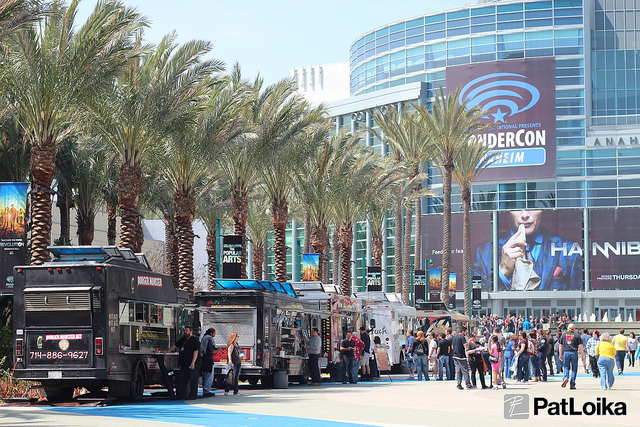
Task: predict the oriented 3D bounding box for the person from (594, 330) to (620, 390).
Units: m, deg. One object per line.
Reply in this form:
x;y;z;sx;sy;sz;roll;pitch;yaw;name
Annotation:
13.368;6.712;60.439;1.057;2.685;0.930;-8;10;-33;person

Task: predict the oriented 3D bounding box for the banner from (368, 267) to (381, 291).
3.414;4.017;81.555;0.794;1.660;1.616;0;-11;3;banner

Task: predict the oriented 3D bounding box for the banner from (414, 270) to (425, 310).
6.650;5.049;86.279;0.813;3.636;0.251;1;31;6;banner

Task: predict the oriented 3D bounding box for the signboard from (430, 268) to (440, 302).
7.688;4.698;86.995;0.650;2.185;0.896;0;-11;3;signboard

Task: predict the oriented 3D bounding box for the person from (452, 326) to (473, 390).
6.826;6.810;62.036;0.848;3.099;1.393;-1;-11;8;person

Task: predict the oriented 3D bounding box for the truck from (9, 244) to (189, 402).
-9.243;4.687;58.249;5.789;5.255;7.927;-1;-4;24;truck

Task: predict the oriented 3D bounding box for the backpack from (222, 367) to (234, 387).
-4.233;7.500;60.024;0.373;0.874;0.898;21;-5;17;backpack

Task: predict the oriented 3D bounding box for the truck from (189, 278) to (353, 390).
-3.093;5.641;61.990;2.802;5.110;8.135;-9;-15;40;truck

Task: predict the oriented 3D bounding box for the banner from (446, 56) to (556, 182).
15.379;-7.566;106.747;11.037;12.613;0.441;-3;-7;17;banner

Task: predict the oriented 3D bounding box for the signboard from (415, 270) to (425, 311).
6.664;5.102;86.297;0.794;3.446;0.188;0;31;5;signboard

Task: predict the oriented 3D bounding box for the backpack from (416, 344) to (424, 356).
5.185;6.986;67.060;0.360;0.516;0.485;0;-6;6;backpack

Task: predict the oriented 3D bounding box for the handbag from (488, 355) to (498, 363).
8.286;6.907;61.966;0.387;0.313;0.297;0;-11;6;handbag

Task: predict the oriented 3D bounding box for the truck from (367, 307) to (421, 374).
4.150;6.848;73.891;2.849;3.687;7.133;-2;-1;22;truck

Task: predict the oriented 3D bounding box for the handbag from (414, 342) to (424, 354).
5.133;6.892;67.056;0.444;0.879;0.619;5;-7;4;handbag
